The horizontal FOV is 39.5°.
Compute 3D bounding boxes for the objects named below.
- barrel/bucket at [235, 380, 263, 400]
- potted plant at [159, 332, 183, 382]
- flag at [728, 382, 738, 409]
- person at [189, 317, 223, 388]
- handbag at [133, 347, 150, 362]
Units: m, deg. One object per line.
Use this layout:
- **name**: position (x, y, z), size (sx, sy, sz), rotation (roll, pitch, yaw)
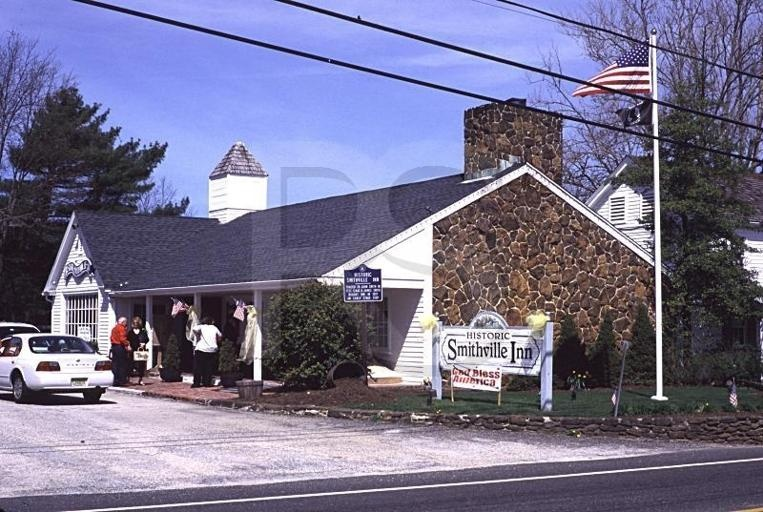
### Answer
- **barrel/bucket**: position (-4.366, 4.412, 34.807), size (0.621, 0.476, 0.624), rotation (0, -9, 0)
- **potted plant**: position (-8.000, 3.938, 40.693), size (0.778, 1.853, 1.003), rotation (4, -8, -11)
- **flag**: position (10.588, 4.183, 31.983), size (0.236, 0.844, 1.046), rotation (0, -9, 18)
- **person**: position (-6.280, 3.494, 38.041), size (1.000, 2.472, 1.447), rotation (4, -8, -10)
- **handbag**: position (-8.943, 3.667, 39.610), size (0.684, 0.636, 0.249), rotation (3, -12, -22)
